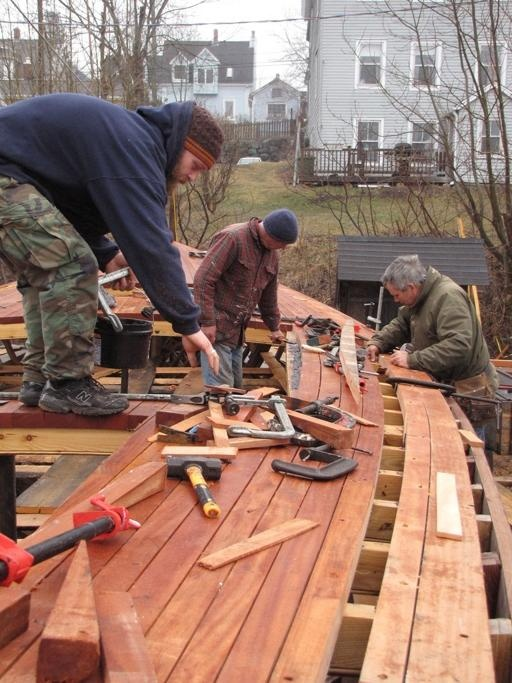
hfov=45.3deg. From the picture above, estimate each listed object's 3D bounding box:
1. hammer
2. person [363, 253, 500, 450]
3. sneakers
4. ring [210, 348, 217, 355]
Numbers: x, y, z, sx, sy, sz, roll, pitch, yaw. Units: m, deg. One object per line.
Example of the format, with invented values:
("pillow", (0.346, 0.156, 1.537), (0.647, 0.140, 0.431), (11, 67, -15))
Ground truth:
("hammer", (-0.094, 0.423, 1.858), (0.177, 0.120, 0.293), (-3, 13, -24))
("person", (1.533, 0.094, 4.801), (1.080, 1.410, 1.073), (2, 13, -25))
("sneakers", (-0.786, 0.241, 2.620), (0.533, 0.166, 0.181), (1, 8, 2))
("ring", (-0.181, 0.042, 2.577), (0.029, 0.033, 0.011), (-3, -15, -2))
